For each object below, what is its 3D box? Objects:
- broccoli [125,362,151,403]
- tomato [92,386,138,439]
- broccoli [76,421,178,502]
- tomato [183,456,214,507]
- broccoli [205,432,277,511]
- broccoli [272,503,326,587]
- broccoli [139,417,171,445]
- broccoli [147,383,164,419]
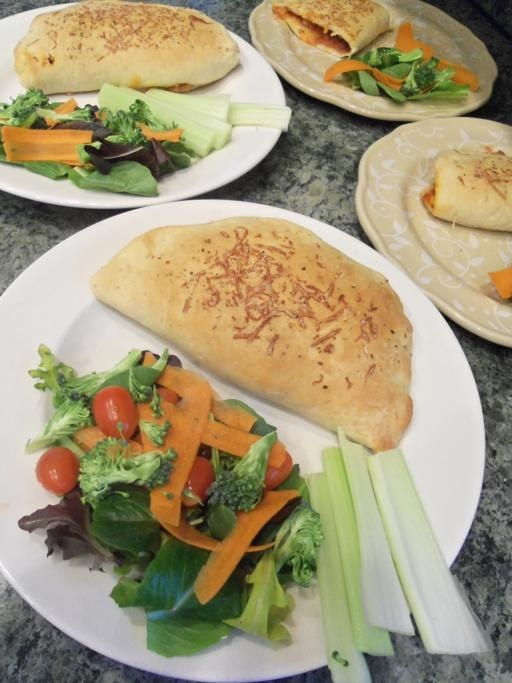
[{"bbox_3d":[-0.258,0.093,1.374,0.030,0.052,0.074,-11,79,-41],"label":"broccoli"},{"bbox_3d":[-0.295,0.152,1.377,0.090,0.086,0.112,-23,81,-21],"label":"tomato"},{"bbox_3d":[-0.270,0.254,1.354,0.148,0.214,0.091,-2,71,11],"label":"broccoli"},{"bbox_3d":[-0.117,0.294,1.311,0.071,0.052,0.087,23,67,7],"label":"tomato"},{"bbox_3d":[-0.023,0.270,1.283,0.096,0.048,0.164,20,50,28],"label":"broccoli"},{"bbox_3d":[0.088,0.416,1.274,0.146,0.203,0.082,-12,81,4],"label":"broccoli"},{"bbox_3d":[-0.214,0.190,1.316,0.056,0.017,0.050,-18,67,0],"label":"broccoli"},{"bbox_3d":[-0.216,0.134,1.353,0.028,0.020,0.061,13,57,-39],"label":"broccoli"}]
